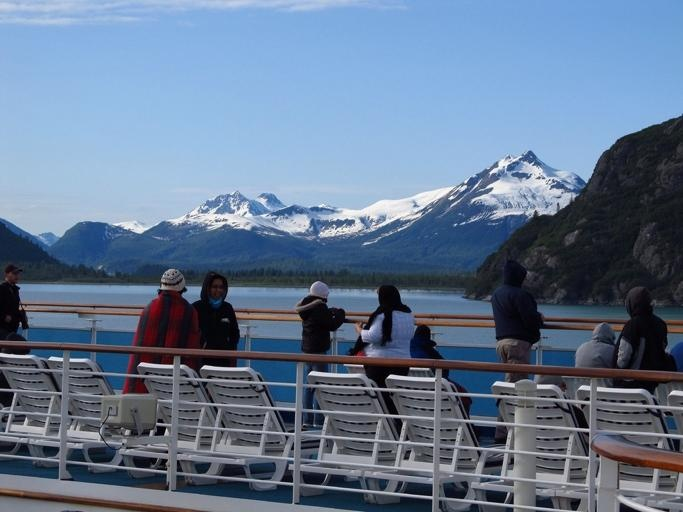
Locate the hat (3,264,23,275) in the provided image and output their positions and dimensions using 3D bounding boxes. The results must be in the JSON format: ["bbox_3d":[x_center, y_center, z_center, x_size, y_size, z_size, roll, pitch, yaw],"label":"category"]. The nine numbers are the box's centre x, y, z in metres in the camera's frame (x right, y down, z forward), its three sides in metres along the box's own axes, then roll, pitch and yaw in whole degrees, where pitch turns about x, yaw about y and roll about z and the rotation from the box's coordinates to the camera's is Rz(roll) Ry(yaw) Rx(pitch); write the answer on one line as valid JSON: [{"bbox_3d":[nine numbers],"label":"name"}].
[{"bbox_3d":[-4.400,0.200,15.342,0.219,0.120,0.143,-12,-9,18],"label":"hat"}]

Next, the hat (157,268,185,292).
[{"bbox_3d":[-1.768,0.255,11.931,0.251,0.185,0.249,0,13,-1],"label":"hat"}]

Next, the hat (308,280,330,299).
[{"bbox_3d":[-0.279,0.401,13.702,0.184,0.198,0.245,7,13,24],"label":"hat"}]
